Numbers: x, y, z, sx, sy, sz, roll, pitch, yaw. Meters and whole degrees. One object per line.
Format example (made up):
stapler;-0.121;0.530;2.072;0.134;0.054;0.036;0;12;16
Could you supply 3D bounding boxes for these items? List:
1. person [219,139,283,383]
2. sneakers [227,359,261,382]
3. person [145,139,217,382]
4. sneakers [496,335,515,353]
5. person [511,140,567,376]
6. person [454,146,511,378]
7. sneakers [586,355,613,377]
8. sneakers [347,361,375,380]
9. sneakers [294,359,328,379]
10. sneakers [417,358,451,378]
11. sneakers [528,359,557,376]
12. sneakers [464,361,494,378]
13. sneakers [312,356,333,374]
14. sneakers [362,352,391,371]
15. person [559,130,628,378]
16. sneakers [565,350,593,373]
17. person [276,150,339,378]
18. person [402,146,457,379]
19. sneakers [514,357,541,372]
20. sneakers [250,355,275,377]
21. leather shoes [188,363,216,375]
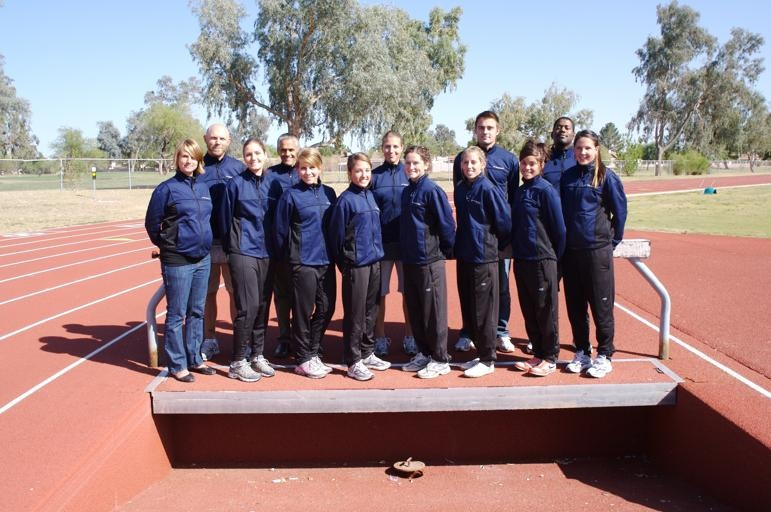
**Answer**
person;-1.461;0.030;5.880;0.639;2.484;0.834;-1;12;-1
sneakers;-1.527;1.242;5.791;0.363;0.201;0.173;9;12;14
person;-2.146;0.055;5.788;0.677;2.495;0.539;-7;14;-27
sneakers;1.452;1.072;6.602;0.123;0.118;0.271;-1;-2;-16
person;1.684;0.038;5.931;0.560;2.504;0.770;-4;13;-16
person;1.022;0.208;5.861;0.601;2.103;0.646;2;13;13
sneakers;2.304;1.185;5.830;0.170;0.179;0.312;12;18;44
sneakers;-0.265;1.233;5.849;0.269;0.140;0.154;1;1;40
sneakers;-0.808;1.201;5.871;0.279;0.145;0.168;7;6;19
sneakers;0.526;1.218;5.911;0.370;0.186;0.147;-4;2;-15
sneakers;1.679;1.201;5.834;0.298;0.124;0.125;1;-5;-40
sneakers;1.005;1.227;5.824;0.302;0.127;0.143;-1;3;-11
sneakers;-0.731;1.195;6.007;0.287;0.128;0.108;15;17;40
sneakers;-0.109;1.184;6.096;0.355;0.172;0.145;3;1;11
person;2.206;-0.023;5.896;0.686;2.581;0.722;5;14;24
sneakers;2.150;1.172;6.009;0.387;0.184;0.144;-4;2;-36
person;-0.803;0.085;5.869;0.657;2.407;0.626;-5;13;-20
person;0.450;0.070;5.860;0.600;2.420;0.713;0;13;4
sneakers;1.559;1.197;5.954;0.277;0.124;0.110;-2;-6;-9
sneakers;-1.350;1.206;5.956;0.299;0.136;0.149;30;23;21
leather shoes;-2.033;1.240;5.986;0.281;0.085;0.121;3;10;19
